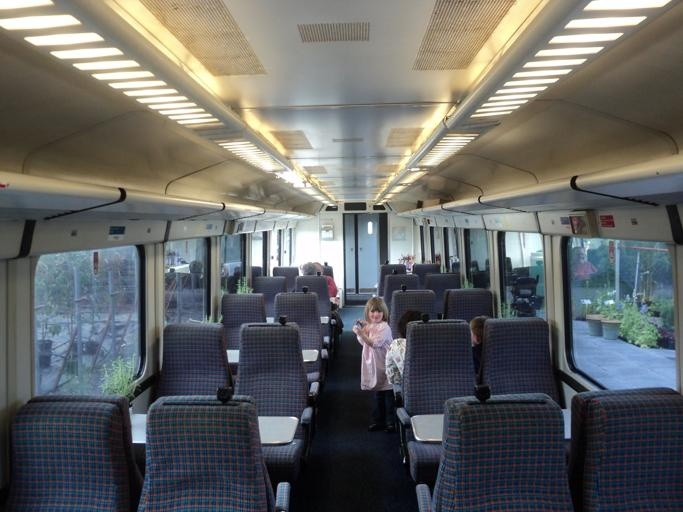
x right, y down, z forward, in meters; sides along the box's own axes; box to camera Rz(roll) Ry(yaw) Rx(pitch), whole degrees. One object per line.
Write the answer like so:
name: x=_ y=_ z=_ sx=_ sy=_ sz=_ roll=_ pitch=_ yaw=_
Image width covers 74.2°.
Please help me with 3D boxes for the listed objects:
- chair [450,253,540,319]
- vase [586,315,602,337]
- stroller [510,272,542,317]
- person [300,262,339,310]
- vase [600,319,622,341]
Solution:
chair: x=2.546 y=0.528 z=7.455 sx=0.710 sy=0.962 sz=1.121 roll=1 pitch=-2 yaw=3
vase: x=3.025 y=0.803 z=5.406 sx=0.197 sy=0.210 sz=0.199 roll=0 pitch=-5 yaw=4
stroller: x=3.020 y=0.715 z=7.403 sx=0.511 sy=0.714 sz=0.616 roll=1 pitch=-8 yaw=13
person: x=-0.574 y=0.663 z=11.260 sx=0.983 sy=1.420 sz=1.175 roll=-1 pitch=-4 yaw=12
vase: x=3.061 y=0.817 z=5.136 sx=0.187 sy=0.144 sz=0.186 roll=1 pitch=-5 yaw=-12
